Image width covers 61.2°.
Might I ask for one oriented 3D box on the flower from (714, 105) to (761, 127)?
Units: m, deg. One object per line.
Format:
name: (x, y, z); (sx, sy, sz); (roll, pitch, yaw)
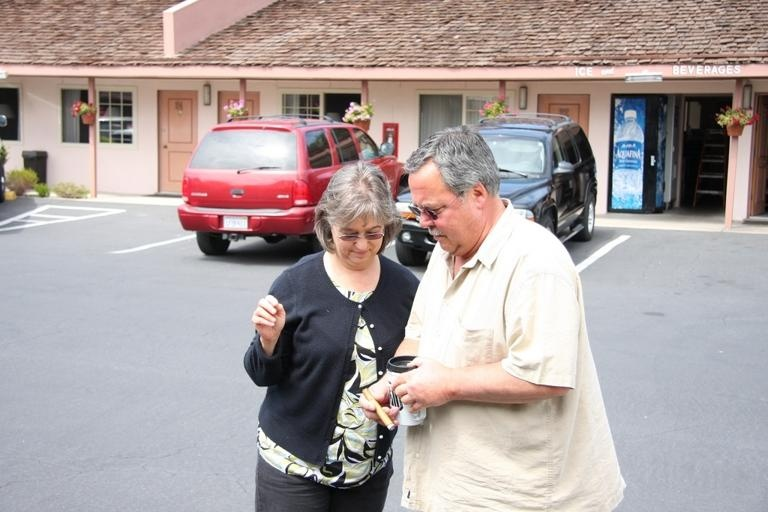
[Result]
flower: (7.730, -3.038, 14.502); (0.666, 0.386, 0.711); (2, 13, 7)

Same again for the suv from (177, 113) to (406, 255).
suv: (-1.481, -1.629, 11.905); (2.009, 1.751, 3.913); (2, 14, 20)

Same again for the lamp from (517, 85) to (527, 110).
lamp: (3.639, -4.139, 17.046); (0.240, 0.614, 0.190); (1, 8, 11)

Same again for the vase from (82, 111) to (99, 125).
vase: (-8.498, -3.891, 18.687); (0.476, 0.388, 0.500); (-1, 0, -18)

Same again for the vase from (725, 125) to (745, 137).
vase: (7.726, -2.747, 14.354); (0.294, 0.238, 0.295); (1, -1, 14)

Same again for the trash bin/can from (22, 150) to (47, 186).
trash bin/can: (-11.045, -2.777, 20.535); (0.572, 1.042, 0.661); (8, 10, 24)

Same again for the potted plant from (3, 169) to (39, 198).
potted plant: (-10.394, -2.116, 18.554); (0.734, 0.882, 0.778); (-9, 7, -6)

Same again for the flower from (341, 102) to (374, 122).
flower: (-0.661, -3.622, 16.560); (0.524, 0.409, 0.562); (-7, 4, 13)

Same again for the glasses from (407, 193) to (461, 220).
glasses: (0.175, -0.210, 2.884); (0.110, 0.093, 0.286); (-4, 10, -25)

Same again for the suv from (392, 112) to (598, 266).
suv: (2.400, -1.300, 11.385); (2.094, 1.962, 4.095); (2, 7, 26)

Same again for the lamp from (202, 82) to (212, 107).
lamp: (-5.308, -4.806, 19.369); (0.288, 0.673, 0.224); (-1, 8, -8)

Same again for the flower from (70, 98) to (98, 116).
flower: (-8.595, -4.186, 18.595); (0.698, 0.402, 0.547); (-6, 6, -38)

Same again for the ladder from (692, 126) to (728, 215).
ladder: (9.736, -2.488, 19.335); (0.714, 2.241, 2.289); (0, 24, 31)
